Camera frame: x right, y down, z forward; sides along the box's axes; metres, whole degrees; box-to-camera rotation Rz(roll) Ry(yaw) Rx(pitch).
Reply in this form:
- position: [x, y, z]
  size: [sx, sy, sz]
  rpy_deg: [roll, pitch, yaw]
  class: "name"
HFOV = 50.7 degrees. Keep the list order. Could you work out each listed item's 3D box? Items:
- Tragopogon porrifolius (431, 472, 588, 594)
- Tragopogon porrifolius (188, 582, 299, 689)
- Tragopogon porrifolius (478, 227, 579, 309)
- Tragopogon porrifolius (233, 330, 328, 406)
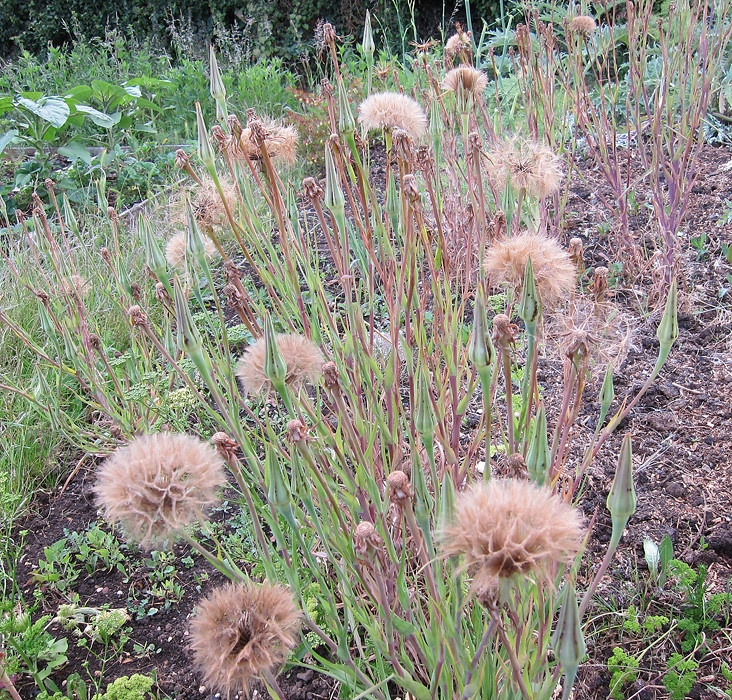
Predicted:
- position: [0.297, 0.363, 1.583]
  size: [0.229, 0.281, 0.242]
  rpy_deg: [15, 27, 35]
  class: "Tragopogon porrifolius"
- position: [-0.275, 0.666, 1.842]
  size: [0.211, 0.308, 0.259]
  rpy_deg: [8, 59, 2]
  class: "Tragopogon porrifolius"
- position: [0.426, -0.200, 2.002]
  size: [0.189, 0.175, 0.194]
  rpy_deg: [11, -20, -36]
  class: "Tragopogon porrifolius"
- position: [-0.215, 0.041, 2.117]
  size: [0.166, 0.153, 0.191]
  rpy_deg: [2, 26, 19]
  class: "Tragopogon porrifolius"
